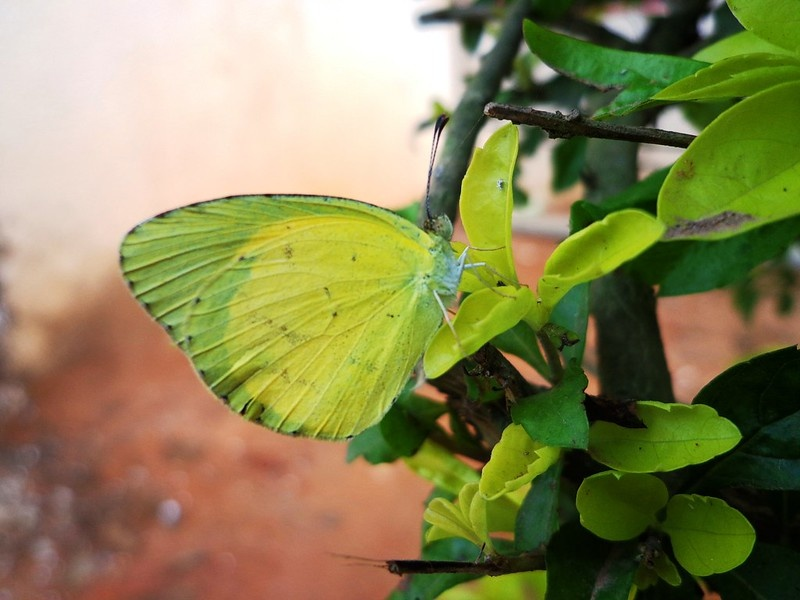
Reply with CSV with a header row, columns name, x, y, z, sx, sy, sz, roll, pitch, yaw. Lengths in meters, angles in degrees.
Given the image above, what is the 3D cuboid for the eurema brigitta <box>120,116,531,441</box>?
name,x,y,z,sx,sy,sz,roll,pitch,yaw
eurema brigitta,-0.092,0.009,1.055,0.481,0.291,0.191,-15,-34,11
